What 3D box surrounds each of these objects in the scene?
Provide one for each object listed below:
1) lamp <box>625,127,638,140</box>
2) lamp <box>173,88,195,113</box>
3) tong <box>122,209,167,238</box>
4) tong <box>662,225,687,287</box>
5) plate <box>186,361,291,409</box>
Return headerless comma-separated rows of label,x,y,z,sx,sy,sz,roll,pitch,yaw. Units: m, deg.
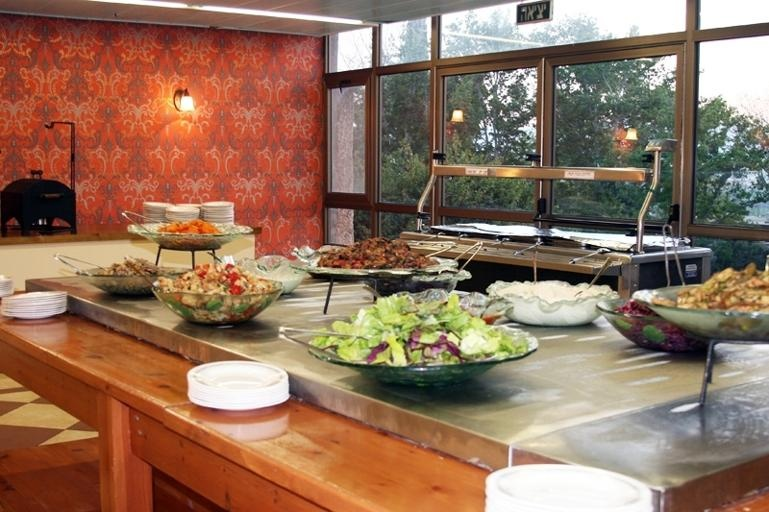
lamp,2.179,-1.078,4.700,0.119,0.097,0.111,0,0,-32
lamp,-2.322,-1.809,6.150,0.243,0.277,0.173,-4,11,-21
tong,-1.697,-0.236,3.753,0.318,0.092,0.772,-2,14,-30
tong,1.642,-0.001,3.002,0.110,0.346,0.031,8,-12,-9
plate,-0.340,0.300,1.230,0.229,0.058,0.165,-1,9,-6
